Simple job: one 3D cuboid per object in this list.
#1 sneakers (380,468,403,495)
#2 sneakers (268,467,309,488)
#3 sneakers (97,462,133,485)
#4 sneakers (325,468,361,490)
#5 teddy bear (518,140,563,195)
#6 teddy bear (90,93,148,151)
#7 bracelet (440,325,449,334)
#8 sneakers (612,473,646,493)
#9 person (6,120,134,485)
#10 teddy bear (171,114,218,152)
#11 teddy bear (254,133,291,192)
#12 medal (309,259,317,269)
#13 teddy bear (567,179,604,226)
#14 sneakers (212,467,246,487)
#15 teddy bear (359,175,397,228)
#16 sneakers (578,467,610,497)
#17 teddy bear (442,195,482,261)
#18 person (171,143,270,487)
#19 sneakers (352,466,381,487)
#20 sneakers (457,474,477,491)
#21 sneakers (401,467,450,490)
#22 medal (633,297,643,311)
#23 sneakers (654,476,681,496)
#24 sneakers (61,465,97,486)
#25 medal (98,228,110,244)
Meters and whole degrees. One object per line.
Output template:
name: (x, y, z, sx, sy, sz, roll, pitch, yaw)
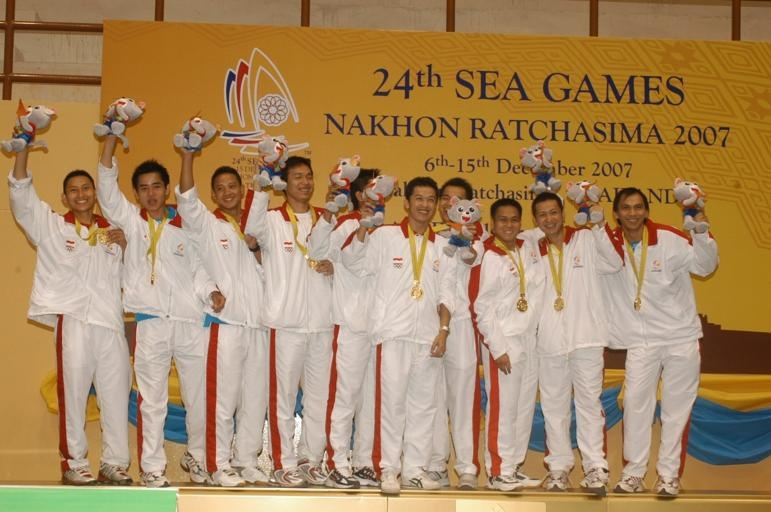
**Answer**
sneakers: (0.032, 2.087, 10.403, 0.188, 0.210, 0.219, -1, 2, 1)
sneakers: (-0.908, 2.067, 10.490, 0.344, 0.168, 0.159, 0, -4, 9)
sneakers: (-2.509, 2.048, 10.531, 0.396, 0.206, 0.153, -3, -8, 33)
sneakers: (-0.414, 2.089, 10.454, 0.331, 0.170, 0.130, -3, -5, 29)
teddy bear: (1.505, -0.870, 11.276, 0.312, 0.523, 0.248, -29, 19, -6)
teddy bear: (-2.608, -1.319, 11.168, 0.371, 0.403, 0.530, 14, 52, 20)
bracelet: (0.533, 0.694, 10.471, 0.064, 0.056, 0.077, 4, -5, -7)
sneakers: (2.298, 2.181, 10.733, 0.334, 0.175, 0.124, 11, -10, -31)
person: (-2.916, 0.463, 10.576, 1.035, 3.334, 0.630, -1, 2, -11)
teddy bear: (-1.762, -1.095, 10.515, 0.300, 0.151, 0.383, 21, 26, 11)
teddy bear: (-1.078, -0.871, 10.529, 0.304, 0.499, 0.468, -1, 2, -6)
medal: (-0.692, 0.080, 10.630, 0.074, 0.080, 0.075, 3, -5, -32)
teddy bear: (1.860, -0.499, 10.725, 0.347, 0.420, 0.367, -1, 2, -8)
sneakers: (-1.473, 2.055, 10.460, 0.326, 0.170, 0.136, -2, 1, 19)
teddy bear: (-0.070, -0.504, 10.510, 0.319, 0.490, 0.583, -1, 2, 1)
sneakers: (1.954, 2.127, 10.610, 0.215, 0.231, 0.209, 0, 2, 21)
teddy bear: (0.714, -0.242, 10.531, 0.312, 0.609, 0.394, 0, 2, 5)
person: (-1.515, 0.564, 10.628, 0.780, 3.149, 0.536, -1, 2, -7)
sneakers: (-0.199, 2.083, 10.578, 0.309, 0.163, 0.111, 2, -3, 12)
sneakers: (0.766, 2.154, 10.710, 0.179, 0.152, 0.320, -1, 2, 2)
sneakers: (0.348, 2.079, 10.551, 0.422, 0.196, 0.192, 0, -4, -2)
medal: (2.404, 0.472, 10.841, 0.087, 0.127, 0.046, -2, 2, -41)
sneakers: (2.657, 2.194, 10.726, 0.231, 0.160, 0.341, 0, 2, 14)
sneakers: (-2.846, 2.071, 10.521, 0.358, 0.181, 0.138, -8, -11, 34)
medal: (-2.665, -0.182, 10.703, 0.103, 0.131, 0.096, 3, 2, -16)
